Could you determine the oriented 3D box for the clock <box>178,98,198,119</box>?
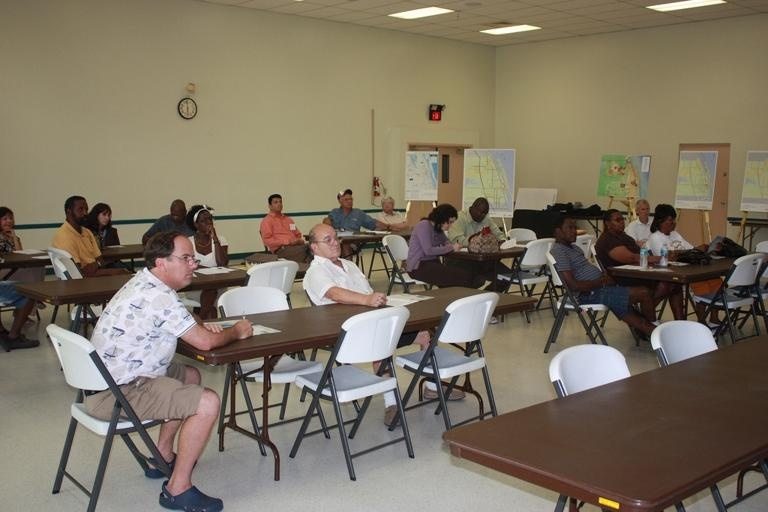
[{"bbox_3d":[-3.751,-2.808,10.278,0.371,0.410,0.069,-7,12,-35],"label":"clock"}]

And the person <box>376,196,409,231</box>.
[{"bbox_3d":[0.171,-0.732,10.193,0.556,0.737,0.597,2,14,29],"label":"person"}]

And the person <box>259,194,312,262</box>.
[{"bbox_3d":[-1.506,-0.455,8.737,0.977,1.083,0.747,-1,7,32],"label":"person"}]

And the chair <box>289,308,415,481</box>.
[{"bbox_3d":[-0.220,0.881,3.829,0.909,1.160,0.616,-2,10,-11],"label":"chair"}]

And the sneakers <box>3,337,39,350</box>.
[{"bbox_3d":[-4.118,0.972,6.110,0.277,0.112,0.133,-2,4,-29],"label":"sneakers"}]

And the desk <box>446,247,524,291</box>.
[{"bbox_3d":[1.368,0.121,7.300,0.971,0.237,0.579,-9,18,-42],"label":"desk"}]

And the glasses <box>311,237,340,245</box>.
[{"bbox_3d":[-0.502,-0.138,4.544,0.236,0.087,0.132,-1,10,-5],"label":"glasses"}]

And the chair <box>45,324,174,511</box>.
[{"bbox_3d":[-1.776,0.962,3.395,0.577,1.148,0.811,-8,13,-40],"label":"chair"}]

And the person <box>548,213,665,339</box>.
[{"bbox_3d":[2.588,0.278,6.113,1.115,0.954,0.761,7,21,41],"label":"person"}]

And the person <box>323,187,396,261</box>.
[{"bbox_3d":[-0.617,-0.381,9.435,1.525,1.566,0.869,0,-2,27],"label":"person"}]

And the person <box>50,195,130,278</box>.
[{"bbox_3d":[-3.646,-0.209,6.702,0.868,1.018,0.659,-2,7,-29],"label":"person"}]
